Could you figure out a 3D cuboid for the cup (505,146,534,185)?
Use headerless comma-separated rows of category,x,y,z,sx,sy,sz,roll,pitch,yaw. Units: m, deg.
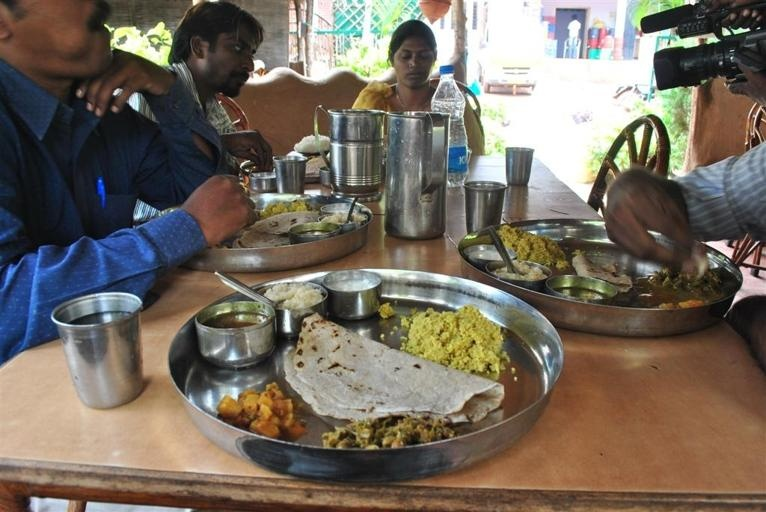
cup,0.652,-0.437,3.003,0.169,0.178,0.181,-1,17,0

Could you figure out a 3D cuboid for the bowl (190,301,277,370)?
bowl,-0.395,0.217,1.677,0.202,0.124,0.203,1,19,0

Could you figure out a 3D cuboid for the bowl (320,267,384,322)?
bowl,-0.090,0.109,1.834,0.163,0.107,0.155,0,13,0

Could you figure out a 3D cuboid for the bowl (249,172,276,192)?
bowl,-0.568,-0.362,2.957,0.119,0.067,0.114,1,9,0

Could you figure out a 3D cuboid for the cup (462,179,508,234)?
cup,0.384,-0.173,2.396,0.160,0.168,0.149,-1,10,0

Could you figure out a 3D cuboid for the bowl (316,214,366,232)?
bowl,-0.132,-0.132,2.337,0.111,0.040,0.106,-3,13,1
